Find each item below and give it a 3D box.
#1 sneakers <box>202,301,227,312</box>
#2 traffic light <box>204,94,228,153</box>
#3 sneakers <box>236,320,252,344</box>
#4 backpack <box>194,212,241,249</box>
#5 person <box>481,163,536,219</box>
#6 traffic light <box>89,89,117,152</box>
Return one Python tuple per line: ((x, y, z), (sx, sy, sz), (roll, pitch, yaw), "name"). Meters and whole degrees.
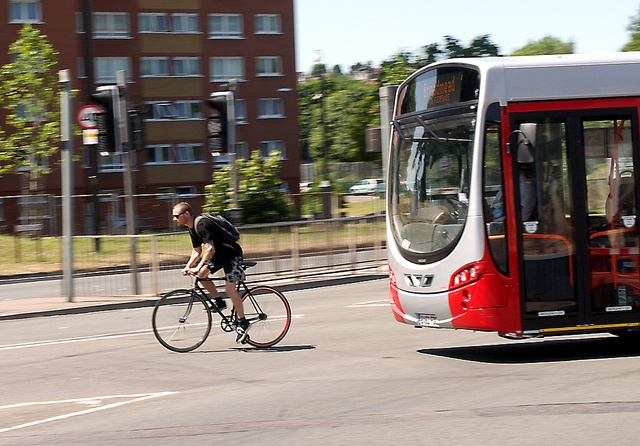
((-1.593, 1.252, 14.833), (0.372, 0.168, 0.142), (-1, 0, -3), "sneakers")
((-2.178, -2.106, 21.050), (0.476, 1.248, 0.490), (-6, 10, -4), "traffic light")
((-1.175, 1.652, 14.856), (0.228, 0.366, 0.151), (19, -3, -12), "sneakers")
((-1.509, 0.090, 14.661), (0.564, 0.483, 0.342), (-6, 10, -14), "backpack")
((2.687, -0.424, 13.654), (0.676, 0.765, 0.212), (-4, 10, 0), "person")
((-4.428, -2.144, 20.473), (0.532, 1.413, 0.418), (-7, 11, -9), "traffic light")
